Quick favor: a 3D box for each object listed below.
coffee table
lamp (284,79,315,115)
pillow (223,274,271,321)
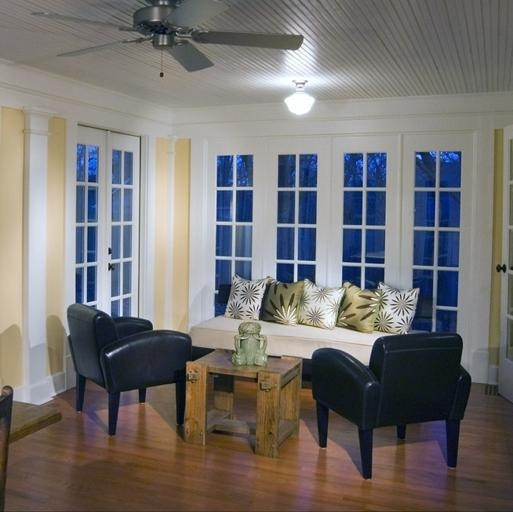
[{"bbox_3d":[-0.044,0.951,3.320,0.585,0.525,0.635,2,4,24],"label":"coffee table"},{"bbox_3d":[0.385,-1.439,4.313,0.245,0.302,0.260,0,1,-2],"label":"lamp"},{"bbox_3d":[-0.114,0.439,4.872,0.400,0.435,0.122,4,-12,39],"label":"pillow"}]
